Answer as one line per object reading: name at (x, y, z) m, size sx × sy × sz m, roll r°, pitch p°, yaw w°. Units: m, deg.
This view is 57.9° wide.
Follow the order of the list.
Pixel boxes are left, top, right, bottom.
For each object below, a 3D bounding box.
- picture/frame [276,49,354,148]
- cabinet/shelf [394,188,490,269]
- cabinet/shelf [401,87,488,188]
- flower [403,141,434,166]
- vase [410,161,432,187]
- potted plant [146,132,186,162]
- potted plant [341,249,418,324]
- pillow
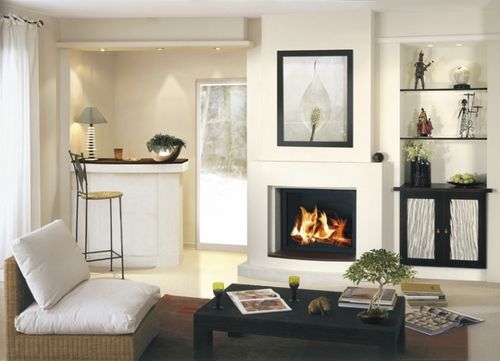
picture/frame at (0.742, -0.955, 5.260) m, size 0.867 × 1.106 × 0.109 m, roll 1°, pitch 8°, yaw 12°
cabinet/shelf at (2.318, 0.569, 5.345) m, size 1.032 × 0.898 × 0.411 m, roll -4°, pitch -11°, yaw 43°
cabinet/shelf at (2.367, -0.506, 5.451) m, size 1.332 × 1.124 × 0.368 m, roll 0°, pitch -2°, yaw 10°
flower at (1.988, -0.329, 5.386) m, size 0.331 × 0.223 × 0.322 m, roll 2°, pitch 3°, yaw 1°
vase at (1.988, -0.080, 5.299) m, size 0.227 × 0.299 × 0.213 m, roll 1°, pitch 8°, yaw 15°
potted plant at (-1.089, -0.408, 5.671) m, size 0.405 × 0.249 × 0.384 m, roll 0°, pitch 1°, yaw -5°
potted plant at (0.914, 0.796, 3.346) m, size 0.445 × 0.479 × 0.555 m, roll 17°, pitch -21°, yaw -38°
pillow at (-1.584, 0.652, 3.563) m, size 0.375 × 0.520 × 0.731 m, roll 2°, pitch 9°, yaw 5°
